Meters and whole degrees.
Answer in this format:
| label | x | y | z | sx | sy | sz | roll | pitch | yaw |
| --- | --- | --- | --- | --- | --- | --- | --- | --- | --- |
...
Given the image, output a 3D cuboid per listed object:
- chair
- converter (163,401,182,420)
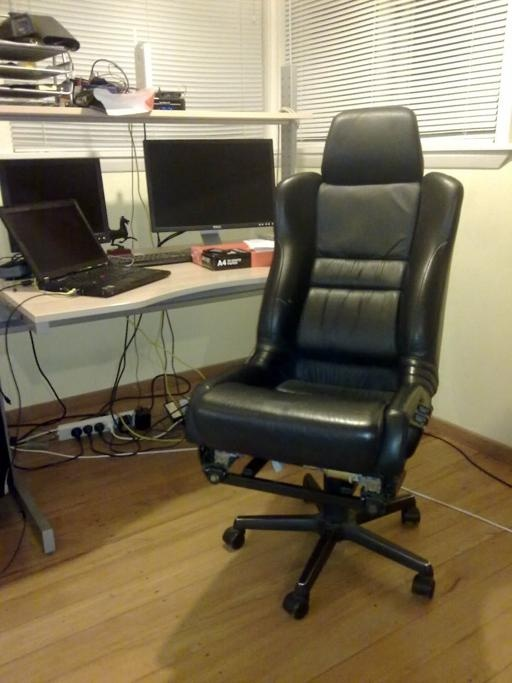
| label | x | y | z | sx | sy | sz | roll | pitch | yaw |
| --- | --- | --- | --- | --- | --- | --- | --- | --- | --- |
| chair | 0.187 | 0.026 | 1.510 | 0.636 | 1.139 | 0.726 | 4 | 19 | 24 |
| converter | -0.370 | 0.313 | 2.559 | 0.087 | 0.019 | 0.079 | -17 | 67 | -29 |
